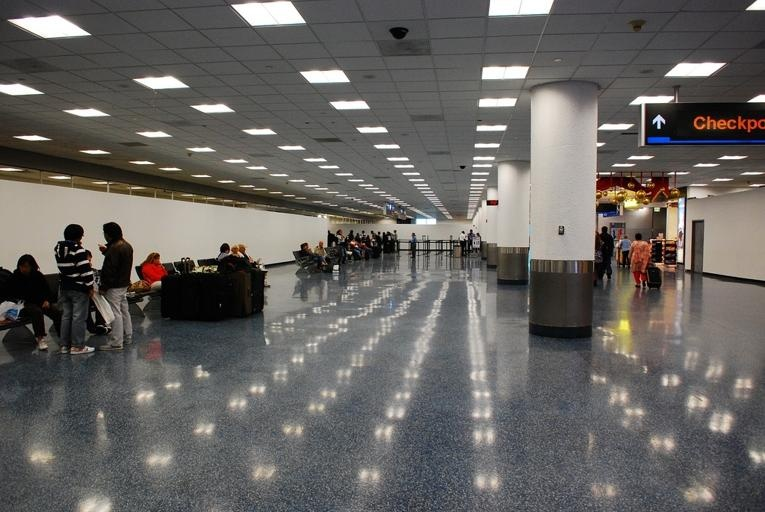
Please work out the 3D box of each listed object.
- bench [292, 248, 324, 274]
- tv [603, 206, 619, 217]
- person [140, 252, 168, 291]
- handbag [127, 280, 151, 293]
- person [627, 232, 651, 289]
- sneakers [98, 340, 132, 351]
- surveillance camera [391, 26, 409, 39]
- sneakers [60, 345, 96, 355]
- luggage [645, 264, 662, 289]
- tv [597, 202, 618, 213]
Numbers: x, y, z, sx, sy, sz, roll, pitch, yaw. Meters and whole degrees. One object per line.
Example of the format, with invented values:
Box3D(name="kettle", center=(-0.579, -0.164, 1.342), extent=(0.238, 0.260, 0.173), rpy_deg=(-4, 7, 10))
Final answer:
Box3D(name="bench", center=(-3.264, 0.299, 21.609), extent=(1.236, 1.082, 0.944), rpy_deg=(2, 1, 16))
Box3D(name="tv", center=(14.661, -2.781, 30.364), extent=(0.614, 0.359, 2.771), rpy_deg=(-3, -4, 34))
Box3D(name="person", center=(-5.496, 0.368, 11.519), extent=(0.512, 0.707, 0.889), rpy_deg=(-6, 13, -26))
Box3D(name="handbag", center=(-5.665, 0.730, 11.220), extent=(0.505, 0.213, 0.500), rpy_deg=(4, 12, -2))
Box3D(name="person", center=(8.498, 0.160, 15.843), extent=(0.586, 1.856, 1.516), rpy_deg=(5, 13, 25))
Box3D(name="sneakers", center=(-4.676, 1.591, 8.444), extent=(0.503, 0.195, 0.194), rpy_deg=(4, -1, -11))
Box3D(name="surveillance camera", center=(0.264, -3.588, 7.773), extent=(0.311, 0.121, 0.349), rpy_deg=(-2, 12, -8))
Box3D(name="sneakers", center=(-5.168, 1.590, 8.149), extent=(0.511, 0.179, 0.199), rpy_deg=(1, -1, -14))
Box3D(name="luggage", center=(8.655, 0.721, 15.304), extent=(0.420, 0.678, 0.622), rpy_deg=(6, 14, 30))
Box3D(name="tv", center=(13.295, -2.865, 28.431), extent=(1.341, 0.316, 1.206), rpy_deg=(0, 3, -9))
